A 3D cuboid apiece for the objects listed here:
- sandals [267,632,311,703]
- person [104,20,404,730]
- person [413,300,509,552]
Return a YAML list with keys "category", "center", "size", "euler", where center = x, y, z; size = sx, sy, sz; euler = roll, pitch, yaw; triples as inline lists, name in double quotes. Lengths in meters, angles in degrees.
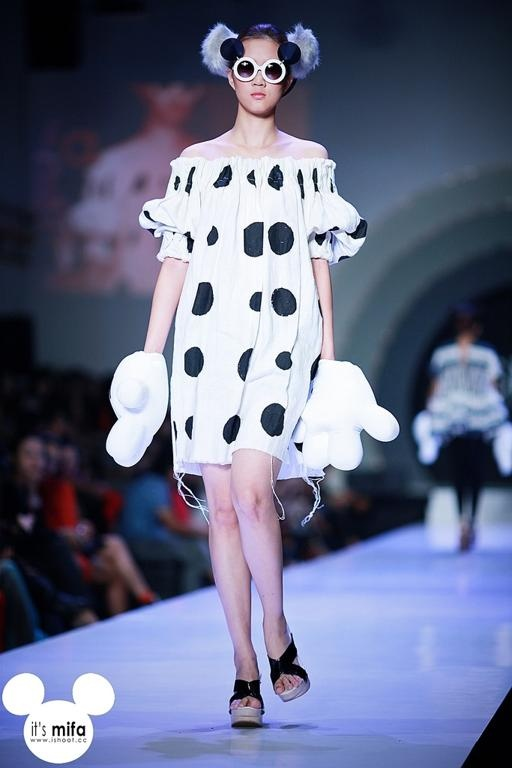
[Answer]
- category: "sandals"
  center: [0.049, 0.486, 1.605]
  size: [0.066, 0.056, 0.178]
  euler: [-15, 2, 0]
- category: "person"
  center: [-0.009, -0.069, 1.707]
  size: [0.514, 1.286, 0.292]
  euler: [1, -7, -8]
- category: "person"
  center: [1.073, 0.115, 5.149]
  size: [0.555, 1.086, 0.538]
  euler: [-3, -7, 22]
